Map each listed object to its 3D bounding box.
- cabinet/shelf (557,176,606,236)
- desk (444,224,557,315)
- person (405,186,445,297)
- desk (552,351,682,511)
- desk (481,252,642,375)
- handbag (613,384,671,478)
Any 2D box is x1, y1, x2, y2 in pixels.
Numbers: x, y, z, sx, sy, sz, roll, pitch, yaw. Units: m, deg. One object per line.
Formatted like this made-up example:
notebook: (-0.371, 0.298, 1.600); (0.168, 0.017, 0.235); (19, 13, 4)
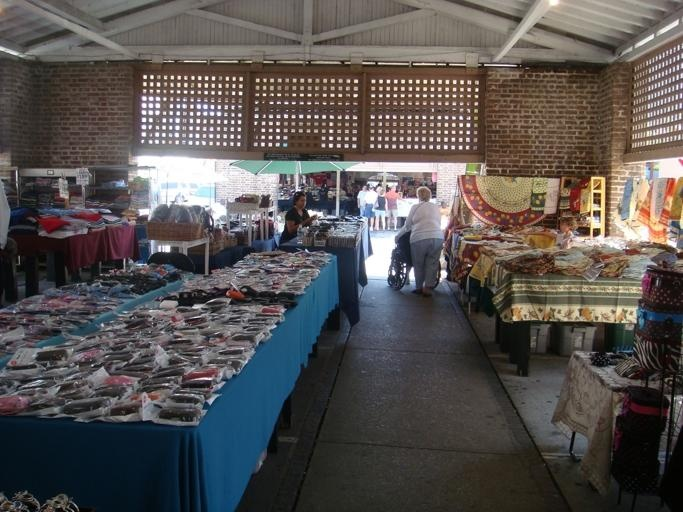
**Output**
cabinet/shelf: (4.099, -0.857, 8.661); (0.803, 0.984, 0.470); (8, 12, 34)
desk: (2.055, 0.165, 7.040); (1.171, 0.458, 1.806); (-1, 16, 2)
person: (1.384, -0.249, 8.565); (0.663, 1.806, 0.541); (3, 11, 10)
desk: (1.618, 1.008, 3.369); (0.921, 0.649, 1.051); (5, 0, -2)
desk: (2.206, 0.551, 4.974); (1.335, 0.399, 1.201); (0, 8, -3)
handbag: (1.736, 1.029, 2.955); (0.241, 0.607, 0.195); (8, 12, 29)
